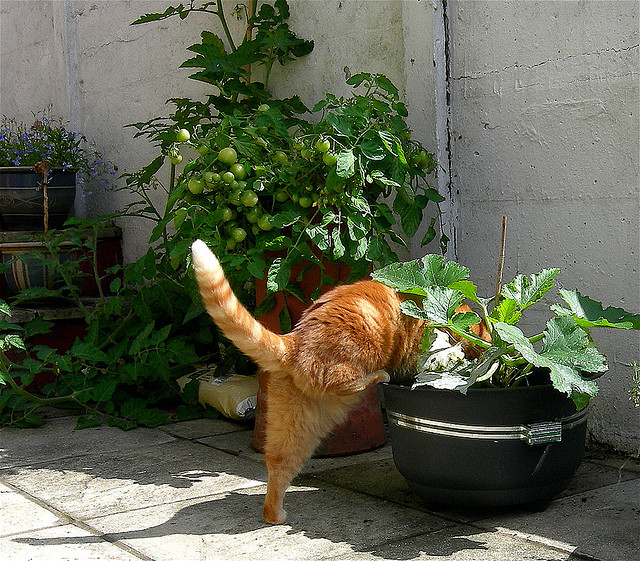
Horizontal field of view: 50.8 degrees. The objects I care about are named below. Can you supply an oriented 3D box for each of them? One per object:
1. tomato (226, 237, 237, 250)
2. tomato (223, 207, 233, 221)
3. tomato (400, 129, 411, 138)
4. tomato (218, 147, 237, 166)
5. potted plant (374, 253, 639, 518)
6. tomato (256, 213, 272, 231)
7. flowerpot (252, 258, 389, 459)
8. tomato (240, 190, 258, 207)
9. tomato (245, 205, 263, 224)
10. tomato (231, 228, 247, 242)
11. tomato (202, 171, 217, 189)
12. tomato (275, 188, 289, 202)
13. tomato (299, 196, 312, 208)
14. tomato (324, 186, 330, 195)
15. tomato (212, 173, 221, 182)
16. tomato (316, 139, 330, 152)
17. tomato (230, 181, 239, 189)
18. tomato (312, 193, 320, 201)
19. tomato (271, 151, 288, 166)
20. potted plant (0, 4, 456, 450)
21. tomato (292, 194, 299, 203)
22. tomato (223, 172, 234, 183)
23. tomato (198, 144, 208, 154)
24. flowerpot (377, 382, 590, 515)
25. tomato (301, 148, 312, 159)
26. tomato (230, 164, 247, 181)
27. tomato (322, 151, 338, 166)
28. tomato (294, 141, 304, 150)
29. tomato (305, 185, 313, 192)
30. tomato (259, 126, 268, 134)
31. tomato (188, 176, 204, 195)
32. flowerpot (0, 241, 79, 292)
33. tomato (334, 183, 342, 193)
[{"bbox_3d":[-0.428,-0.176,3.246,0.050,0.051,0.048,5,14,31],"label":"tomato"},{"bbox_3d":[-0.441,-0.323,3.231,0.034,0.065,0.073,-2,4,5],"label":"tomato"},{"bbox_3d":[0.429,-0.737,3.356,0.048,0.036,0.076,-2,4,2],"label":"tomato"},{"bbox_3d":[-0.440,-0.592,3.197,0.087,0.090,0.070,-3,4,-7],"label":"tomato"},{"bbox_3d":[0.832,0.388,2.656,1.091,0.666,1.099,-1,-1,44],"label":"potted plant"},{"bbox_3d":[-0.260,-0.282,3.203,0.079,0.084,0.081,-1,4,16],"label":"tomato"},{"bbox_3d":[-0.022,0.376,3.389,0.706,0.978,0.289,-2,5,4],"label":"flowerpot"},{"bbox_3d":[-0.329,-0.386,3.142,0.079,0.079,0.070,-12,34,-8],"label":"tomato"},{"bbox_3d":[-0.311,-0.312,3.223,0.081,0.084,0.076,-21,0,11],"label":"tomato"},{"bbox_3d":[-0.386,-0.224,3.252,0.071,0.063,0.061,-4,4,-19],"label":"tomato"},{"bbox_3d":[-0.521,-0.475,3.201,0.059,0.072,0.068,-8,21,26],"label":"tomato"},{"bbox_3d":[-0.177,-0.419,3.246,0.067,0.068,0.060,-2,28,8],"label":"tomato"},{"bbox_3d":[-0.068,-0.380,3.223,0.052,0.043,0.057,9,-13,10],"label":"tomato"},{"bbox_3d":[0.035,-0.414,3.091,0.028,0.021,0.027,-42,41,-15],"label":"tomato"},{"bbox_3d":[-0.488,-0.485,3.159,0.035,0.034,0.035,-42,-1,44],"label":"tomato"},{"bbox_3d":[0.028,-0.613,3.070,0.056,0.053,0.051,-27,32,21],"label":"tomato"},{"bbox_3d":[-0.399,-0.451,3.164,0.033,0.031,0.019,29,-17,17],"label":"tomato"},{"bbox_3d":[-0.018,-0.405,3.233,0.032,0.031,0.028,-1,0,-2],"label":"tomato"},{"bbox_3d":[-0.191,-0.594,3.246,0.074,0.067,0.089,-3,4,-3],"label":"tomato"},{"bbox_3d":[-0.171,-0.457,4.723,2.466,2.398,3.570,7,17,40],"label":"potted plant"},{"bbox_3d":[-0.115,-0.399,3.250,0.031,0.036,0.054,-3,4,-1],"label":"tomato"},{"bbox_3d":[-0.427,-0.483,3.144,0.048,0.040,0.043,-5,-35,16],"label":"tomato"},{"bbox_3d":[-0.565,-0.639,3.251,0.045,0.048,0.053,-3,4,-10],"label":"tomato"},{"bbox_3d":[0.599,0.582,2.512,0.664,0.302,0.604,1,-6,-4],"label":"flowerpot"},{"bbox_3d":[-0.065,-0.596,3.154,0.046,0.031,0.047,5,19,-3],"label":"tomato"},{"bbox_3d":[-0.382,-0.517,3.229,0.086,0.084,0.079,1,7,11],"label":"tomato"},{"bbox_3d":[0.045,-0.548,3.031,0.062,0.063,0.059,6,7,25],"label":"tomato"},{"bbox_3d":[-0.096,-0.636,3.159,0.045,0.034,0.052,-2,4,-1],"label":"tomato"},{"bbox_3d":[-0.047,-0.440,3.209,0.024,0.023,0.021,-5,15,10],"label":"tomato"},{"bbox_3d":[-0.284,-0.756,3.362,0.043,0.012,0.037,1,-3,2],"label":"tomato"},{"bbox_3d":[-0.598,-0.463,3.237,0.063,0.074,0.087,-5,5,-27],"label":"tomato"},{"bbox_3d":[-2.101,-0.087,4.987,0.507,0.254,0.457,-1,-3,-3],"label":"flowerpot"},{"bbox_3d":[0.086,-0.427,3.066,0.034,0.033,0.054,-2,4,8],"label":"tomato"}]
